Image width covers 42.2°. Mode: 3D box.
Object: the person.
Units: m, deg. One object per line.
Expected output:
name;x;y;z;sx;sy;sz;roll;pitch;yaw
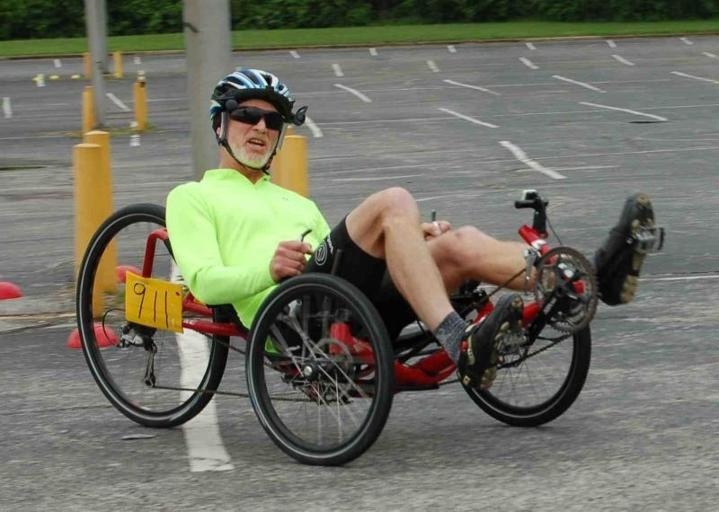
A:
person;0.145;-0.221;4.654;2.401;1.130;1.094;5;24;35

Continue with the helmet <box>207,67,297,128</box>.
helmet;-0.660;-0.875;5.100;0.373;0.180;0.431;-2;7;-39

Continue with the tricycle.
tricycle;0.031;0.275;5.201;3.175;0.955;1.737;1;10;40

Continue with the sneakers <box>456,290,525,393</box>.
sneakers;0.562;0.395;4.272;0.312;0.500;0.178;9;45;-8
